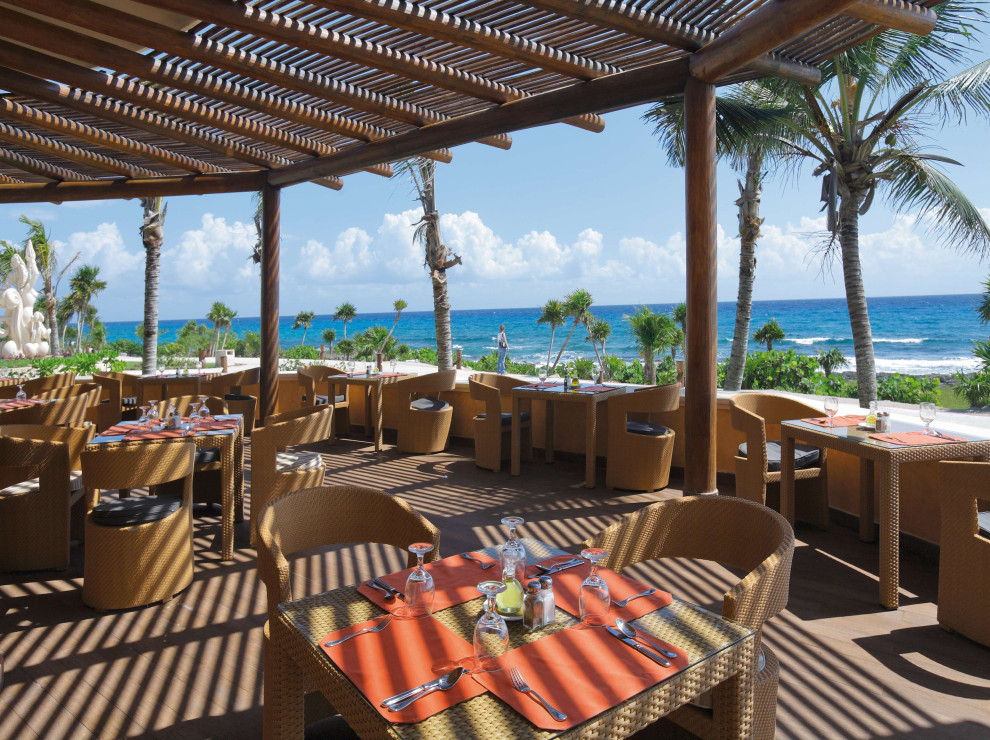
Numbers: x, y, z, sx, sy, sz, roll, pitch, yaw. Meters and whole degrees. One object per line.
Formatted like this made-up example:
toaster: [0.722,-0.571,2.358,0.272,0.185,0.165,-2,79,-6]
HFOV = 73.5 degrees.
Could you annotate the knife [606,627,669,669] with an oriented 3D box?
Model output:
knife: [0.434,0.829,1.994,0.059,0.019,0.178,-7,10,-31]

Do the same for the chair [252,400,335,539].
chair: [-1.564,0.677,4.989,0.794,1.059,0.849,3,-5,-20]

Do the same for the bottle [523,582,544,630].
bottle: [0.122,0.739,2.081,0.063,0.150,0.035,1,8,13]

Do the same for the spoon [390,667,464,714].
spoon: [-0.169,0.878,1.866,0.253,0.038,0.065,-9,15,-34]

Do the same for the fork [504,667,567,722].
fork: [0.110,0.894,1.820,0.053,0.040,0.293,-1,7,-20]

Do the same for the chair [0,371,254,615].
chair: [-2.162,0.902,4.404,1.063,1.093,1.300,-1,0,4]

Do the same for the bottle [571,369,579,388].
bottle: [0.809,0.090,6.744,0.074,0.163,0.207,-1,7,4]

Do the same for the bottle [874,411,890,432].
bottle: [2.530,0.338,4.353,0.082,0.124,0.198,3,8,30]

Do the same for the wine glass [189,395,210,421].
wine glass: [-2.434,0.311,5.461,0.120,0.171,0.128,15,17,35]

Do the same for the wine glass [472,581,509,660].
wine glass: [-0.011,0.728,2.056,0.108,0.201,0.274,-1,7,0]
